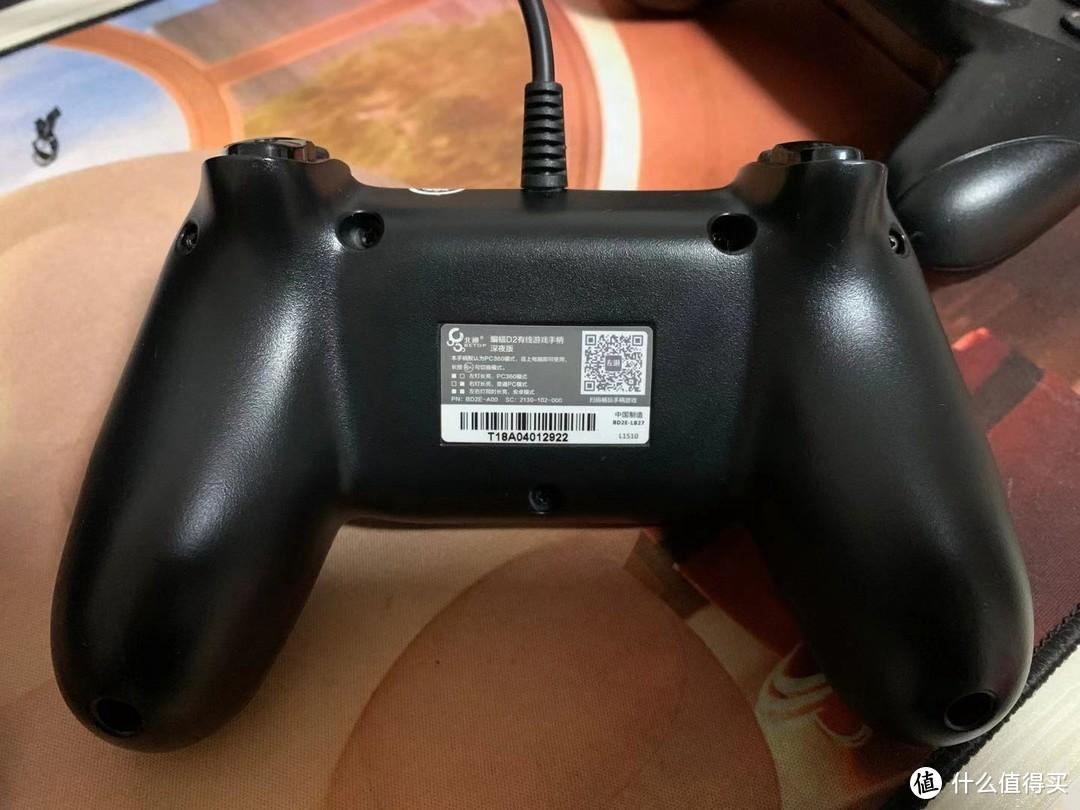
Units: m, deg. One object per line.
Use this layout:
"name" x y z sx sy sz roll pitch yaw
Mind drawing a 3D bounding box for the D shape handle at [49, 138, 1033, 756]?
"D shape handle" -0.003 0.019 0.738 0.709 0.269 0.403 -2 54 2
